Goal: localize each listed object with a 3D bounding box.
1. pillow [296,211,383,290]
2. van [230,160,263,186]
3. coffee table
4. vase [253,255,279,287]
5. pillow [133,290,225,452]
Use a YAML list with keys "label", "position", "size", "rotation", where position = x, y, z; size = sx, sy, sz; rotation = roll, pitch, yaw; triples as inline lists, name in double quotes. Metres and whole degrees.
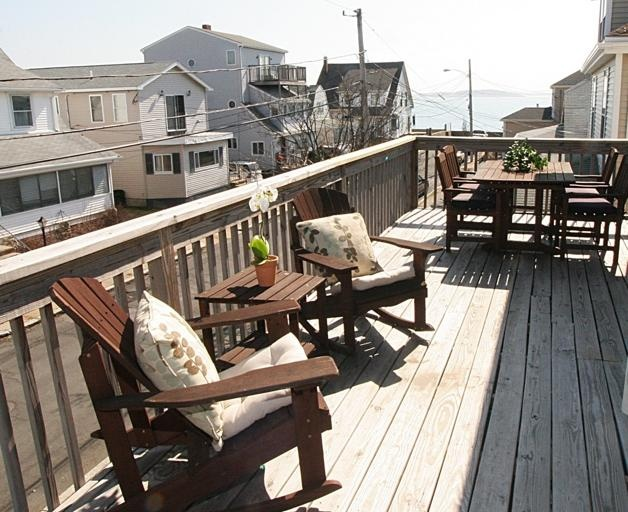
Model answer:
- label: "pillow"
  position: [0.192, -0.059, 3.294]
  size: [0.560, 0.466, 0.160]
  rotation: [-9, -15, -27]
- label: "van"
  position: [-4.132, -4.776, 27.512]
  size: [1.549, 1.241, 3.799]
  rotation: [-3, 12, -11]
- label: "coffee table"
  position: [-0.304, 0.404, 2.537]
  size: [0.615, 0.548, 0.630]
  rotation: [14, 31, 28]
- label: "vase"
  position: [-0.248, 0.094, 2.667]
  size: [0.157, 0.150, 0.152]
  rotation: [0, 7, -2]
- label: "pillow"
  position: [-0.506, 0.444, 1.775]
  size: [0.362, 0.488, 0.619]
  rotation: [-4, 22, -15]
